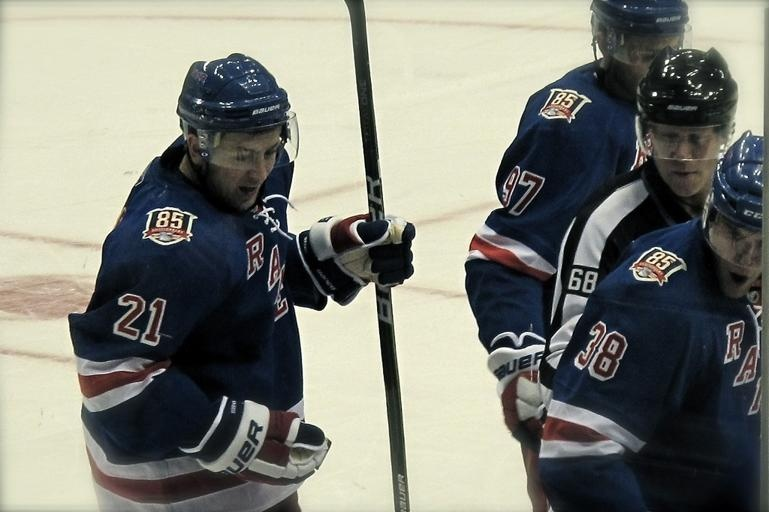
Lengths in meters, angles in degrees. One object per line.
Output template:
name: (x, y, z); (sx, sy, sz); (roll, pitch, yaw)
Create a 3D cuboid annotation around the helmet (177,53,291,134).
helmet: (-0.514, -0.522, 3.782); (0.272, 0.260, 0.287); (-5, -3, -24)

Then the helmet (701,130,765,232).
helmet: (1.049, -0.227, 3.449); (0.168, 0.294, 0.129); (2, 11, 15)

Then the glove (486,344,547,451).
glove: (0.525, 0.556, 4.484); (0.156, 0.364, 0.286); (-5, 13, -17)

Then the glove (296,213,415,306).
glove: (-0.091, 0.020, 4.287); (0.413, 0.283, 0.189); (-10, -34, 7)

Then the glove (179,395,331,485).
glove: (-0.437, 0.661, 3.887); (0.480, 0.251, 0.204); (15, 37, -33)

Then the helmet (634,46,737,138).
helmet: (0.961, -0.540, 3.701); (0.250, 0.273, 0.298); (3, 6, 11)
